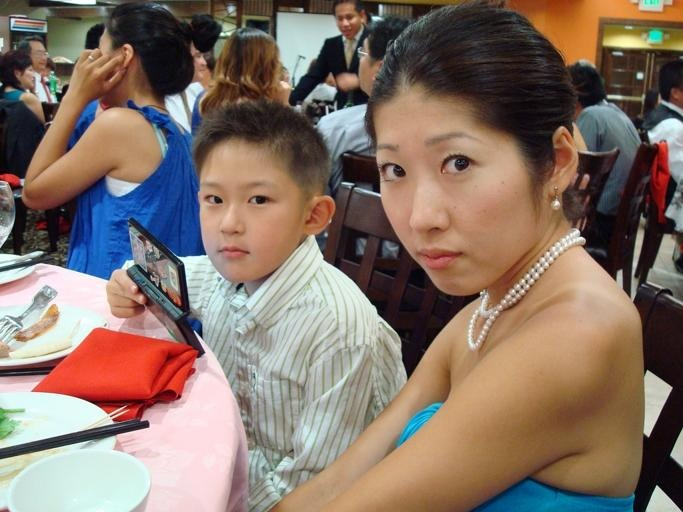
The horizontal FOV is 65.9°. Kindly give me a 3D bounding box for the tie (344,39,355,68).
[{"bbox_3d":[0.070,-1.896,4.927,0.045,0.207,0.196,1,-2,-13],"label":"tie"}]

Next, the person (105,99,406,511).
[{"bbox_3d":[-0.286,0.075,1.890,0.917,1.442,0.837,-7,11,-44],"label":"person"}]

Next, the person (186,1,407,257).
[{"bbox_3d":[-0.267,-0.838,3.408,0.963,1.923,0.982,1,6,-15],"label":"person"}]

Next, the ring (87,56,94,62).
[{"bbox_3d":[-0.986,-0.778,2.080,0.023,0.030,0.011,12,0,19],"label":"ring"}]
